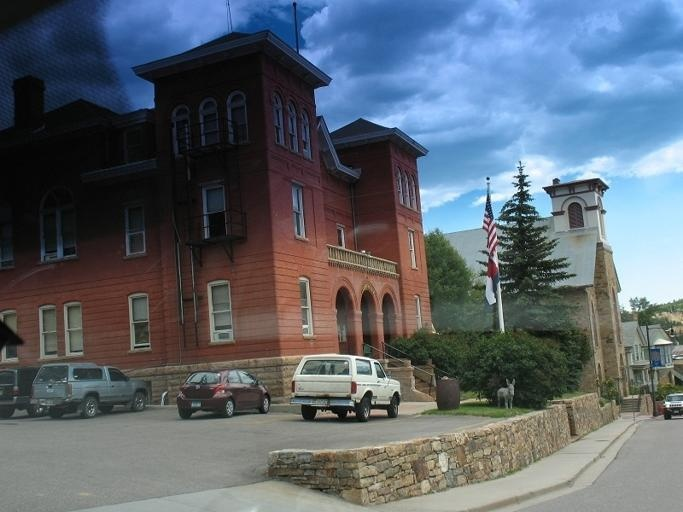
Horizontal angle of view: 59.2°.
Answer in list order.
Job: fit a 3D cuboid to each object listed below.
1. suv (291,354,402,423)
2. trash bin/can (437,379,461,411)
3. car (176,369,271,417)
[{"bbox_3d":[0.473,4.586,21.560,2.027,1.546,3.434,-4,-7,32],"label":"suv"},{"bbox_3d":[4.359,5.665,24.697,0.919,1.221,0.900,-6,-13,5],"label":"trash bin/can"},{"bbox_3d":[-4.233,5.013,22.002,1.249,1.652,3.163,-16,-17,41],"label":"car"}]
